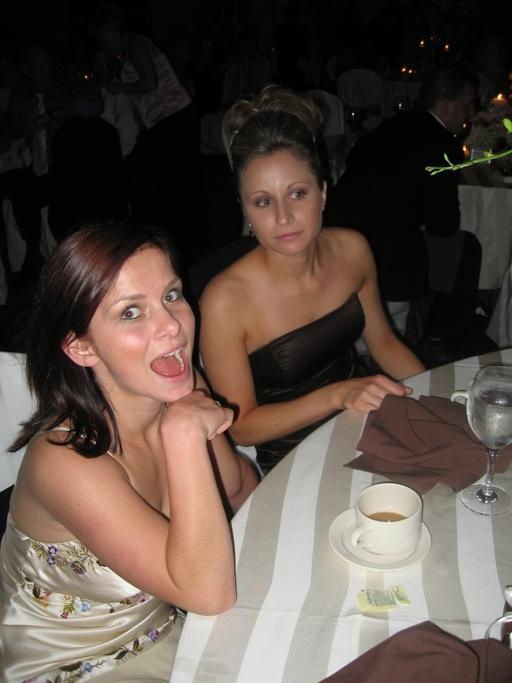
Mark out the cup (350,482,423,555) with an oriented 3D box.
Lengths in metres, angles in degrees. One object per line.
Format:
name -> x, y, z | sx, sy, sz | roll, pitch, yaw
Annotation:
cup -> 0.210, 0.284, 0.906 | 0.125, 0.077, 0.091 | -29, 39, -34

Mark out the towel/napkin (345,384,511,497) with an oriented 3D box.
towel/napkin -> 0.334, 0.169, 1.107 | 0.214, 0.035, 0.192 | -2, 31, 7
